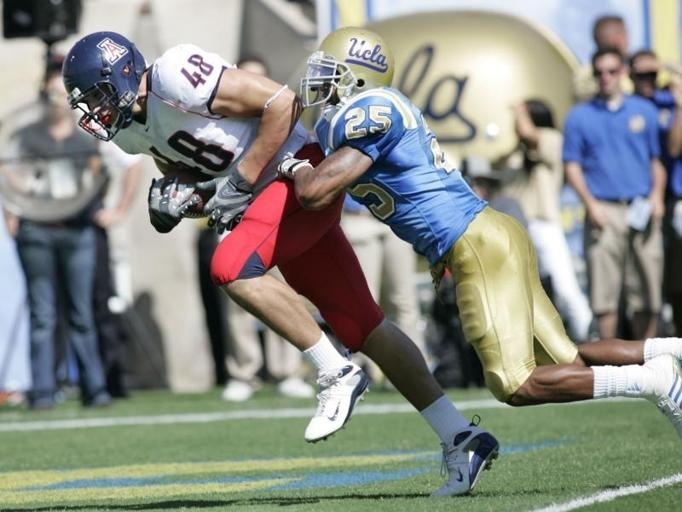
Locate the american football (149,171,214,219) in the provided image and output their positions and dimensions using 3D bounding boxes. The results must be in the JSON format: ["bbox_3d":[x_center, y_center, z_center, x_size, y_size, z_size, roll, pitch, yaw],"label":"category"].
[{"bbox_3d":[-0.715,-0.266,4.522,0.215,0.210,0.112,-2,-2,-1],"label":"american football"}]

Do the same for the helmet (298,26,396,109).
[{"bbox_3d":[0.026,-0.857,4.580,0.396,0.358,0.311,-1,5,-6],"label":"helmet"}]

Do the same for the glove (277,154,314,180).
[{"bbox_3d":[-0.218,-0.396,4.435,0.113,0.059,0.094,-4,-20,6],"label":"glove"}]

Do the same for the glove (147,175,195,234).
[{"bbox_3d":[-0.755,-0.238,4.555,0.184,0.244,0.116,23,-6,9],"label":"glove"}]

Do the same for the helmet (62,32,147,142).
[{"bbox_3d":[-1.046,-0.756,4.434,0.315,0.468,0.218,1,1,22],"label":"helmet"}]
